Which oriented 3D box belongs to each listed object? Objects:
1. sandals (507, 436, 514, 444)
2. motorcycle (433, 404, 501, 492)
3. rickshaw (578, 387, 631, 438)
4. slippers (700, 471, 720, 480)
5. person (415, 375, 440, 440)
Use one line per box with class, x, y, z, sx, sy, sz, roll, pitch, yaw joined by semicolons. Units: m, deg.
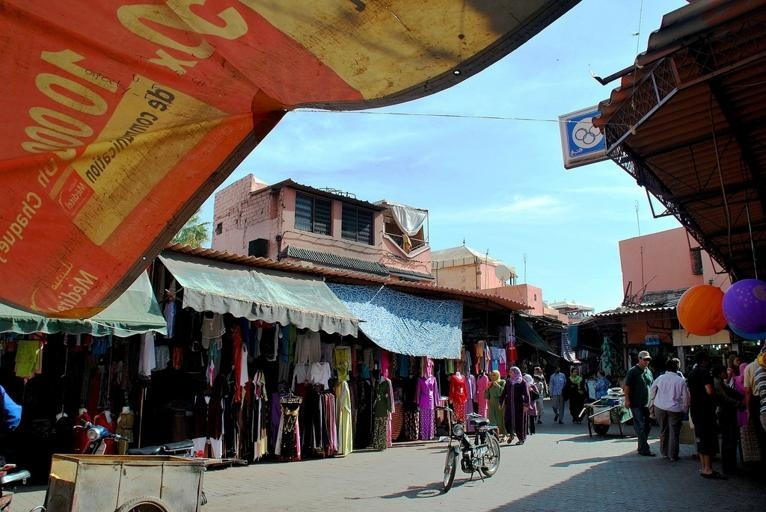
sandals;3.035;4.358;14.868;0.102;0.123;0.300;0;-6;12
motorcycle;1.560;3.371;10.799;0.531;1.075;1.834;0;-3;11
rickshaw;5.990;4.124;16.695;1.179;1.032;2.179;-4;-11;29
slippers;5.419;3.620;10.318;0.288;0.125;0.222;-9;-20;22
person;1.117;3.820;15.715;0.521;1.547;1.281;-3;-18;4
